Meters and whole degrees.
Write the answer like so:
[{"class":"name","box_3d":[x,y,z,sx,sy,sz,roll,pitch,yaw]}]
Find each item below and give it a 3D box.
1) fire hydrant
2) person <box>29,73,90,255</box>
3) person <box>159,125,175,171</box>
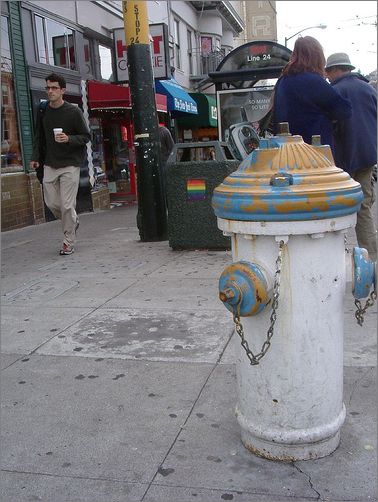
[{"class":"fire hydrant","box_3d":[0.396,0.179,1.859,0.553,1.221,0.349,-3,11,2]},{"class":"person","box_3d":[-1.694,-1.118,6.346,0.686,2.307,0.564,3,13,29]},{"class":"person","box_3d":[-0.396,-1.871,8.612,0.217,0.719,0.701,-4,11,-2]}]
